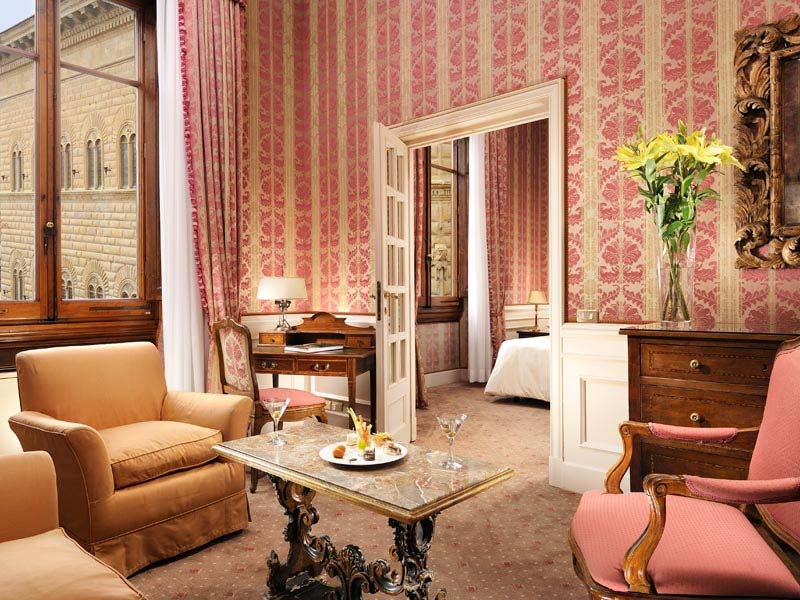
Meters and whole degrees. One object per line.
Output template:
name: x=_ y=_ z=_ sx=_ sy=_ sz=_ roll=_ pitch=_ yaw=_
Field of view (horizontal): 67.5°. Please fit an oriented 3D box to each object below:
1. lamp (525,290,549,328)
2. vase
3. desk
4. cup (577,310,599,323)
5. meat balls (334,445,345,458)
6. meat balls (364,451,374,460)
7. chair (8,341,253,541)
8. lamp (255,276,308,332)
lamp: x=1.978 y=0.131 z=8.659 sx=0.260 sy=0.534 sz=0.461 roll=1 pitch=5 yaw=14
vase: x=1.470 y=-0.213 z=3.208 sx=0.216 sy=0.682 sz=0.167 roll=0 pitch=5 yaw=5
desk: x=-0.653 y=0.545 z=4.660 sx=0.964 sy=1.029 sz=0.579 roll=-2 pitch=-3 yaw=27
cup: x=1.252 y=0.106 z=4.032 sx=0.137 sy=0.091 sz=0.065 roll=1 pitch=5 yaw=19
meat balls: x=-0.275 y=0.684 z=2.714 sx=0.035 sy=0.024 sz=0.064 roll=1 pitch=2 yaw=-2
meat balls: x=-0.138 y=0.695 z=2.695 sx=0.057 sy=0.056 sz=0.031 roll=3 pitch=-8 yaw=-24
chair: x=-1.528 y=0.752 z=3.568 sx=1.167 sy=1.210 sz=1.177 roll=-6 pitch=-5 yaw=38
lamp: x=-0.904 y=0.041 z=4.947 sx=0.458 sy=0.468 sz=0.446 roll=-1 pitch=-2 yaw=1
